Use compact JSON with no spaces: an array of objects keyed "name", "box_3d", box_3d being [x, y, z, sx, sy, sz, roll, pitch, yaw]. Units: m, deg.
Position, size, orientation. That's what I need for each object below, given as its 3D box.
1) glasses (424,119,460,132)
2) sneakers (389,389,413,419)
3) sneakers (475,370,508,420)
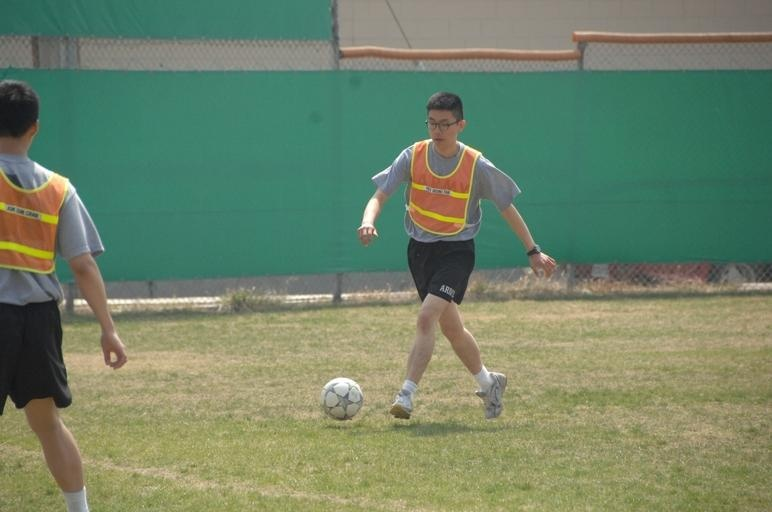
[{"name":"glasses","box_3d":[0.621,-1.392,13.265,0.361,0.105,0.097,1,7,2]},{"name":"sneakers","box_3d":[0.157,1.563,13.012,0.179,0.239,0.355,6,-32,5]},{"name":"sneakers","box_3d":[1.147,1.481,13.424,0.284,0.612,0.208,-3,2,-12]}]
